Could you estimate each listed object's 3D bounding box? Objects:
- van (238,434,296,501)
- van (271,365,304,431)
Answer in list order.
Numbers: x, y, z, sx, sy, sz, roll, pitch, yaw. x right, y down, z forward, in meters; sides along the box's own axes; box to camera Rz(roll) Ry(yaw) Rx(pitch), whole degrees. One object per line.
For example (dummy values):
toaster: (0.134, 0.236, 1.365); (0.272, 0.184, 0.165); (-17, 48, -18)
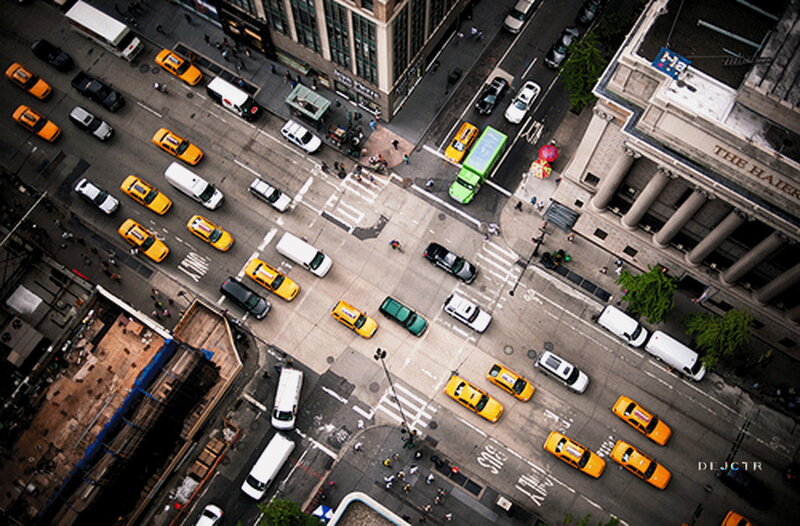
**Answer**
van: (-20.375, 31.197, 162.450); (3.669, 2.184, 9.912); (34, 78, 10)
van: (-17.654, 21.215, 164.761); (3.591, 2.566, 8.883); (10, 75, 4)
